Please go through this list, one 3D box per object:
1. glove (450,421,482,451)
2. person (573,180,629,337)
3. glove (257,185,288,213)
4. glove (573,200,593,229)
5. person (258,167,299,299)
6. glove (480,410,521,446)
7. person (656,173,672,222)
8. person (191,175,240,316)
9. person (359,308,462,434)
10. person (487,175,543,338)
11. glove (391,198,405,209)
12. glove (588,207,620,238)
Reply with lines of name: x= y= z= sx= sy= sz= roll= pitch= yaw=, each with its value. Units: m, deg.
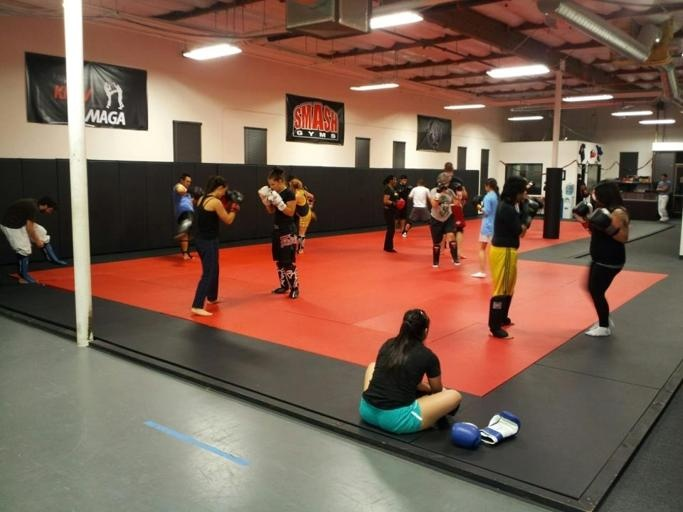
glove: x=0.984 y=1.411 z=3.690 sx=0.156 sy=0.168 sz=0.212 roll=3 pitch=-3 yaw=-15
person: x=3.364 y=0.067 z=6.003 sx=0.457 sy=2.036 sz=0.694 roll=7 pitch=13 yaw=34
glove: x=-1.092 y=-0.912 z=7.449 sx=0.415 sy=0.373 sz=0.280 roll=-2 pitch=11 yaw=-10
glove: x=3.263 y=-0.569 z=6.295 sx=0.293 sy=0.419 sz=0.412 roll=-2 pitch=-4 yaw=35
person: x=-1.007 y=-0.341 z=7.740 sx=0.488 sy=2.169 sz=0.679 roll=2 pitch=10 yaw=7
glove: x=1.297 y=1.370 z=3.795 sx=0.301 sy=0.118 sz=0.205 roll=-14 pitch=19 yaw=-43
person: x=14.905 y=-2.718 z=21.588 sx=0.538 sy=2.142 sz=0.773 roll=7 pitch=13 yaw=34
person: x=-1.903 y=-0.151 z=6.948 sx=0.738 sy=2.021 sz=0.528 roll=-5 pitch=11 yaw=-25
person: x=0.648 y=1.096 z=4.367 sx=0.700 sy=0.797 sz=0.648 roll=19 pitch=21 yaw=37
person: x=2.210 y=0.012 z=6.185 sx=0.381 sy=2.101 sz=0.575 roll=8 pitch=13 yaw=38
glove: x=1.521 y=-1.412 z=12.420 sx=0.268 sy=0.165 sz=0.394 roll=2 pitch=8 yaw=18
glove: x=3.241 y=-0.422 z=5.799 sx=0.353 sy=0.343 sz=0.290 roll=0 pitch=11 yaw=-2
